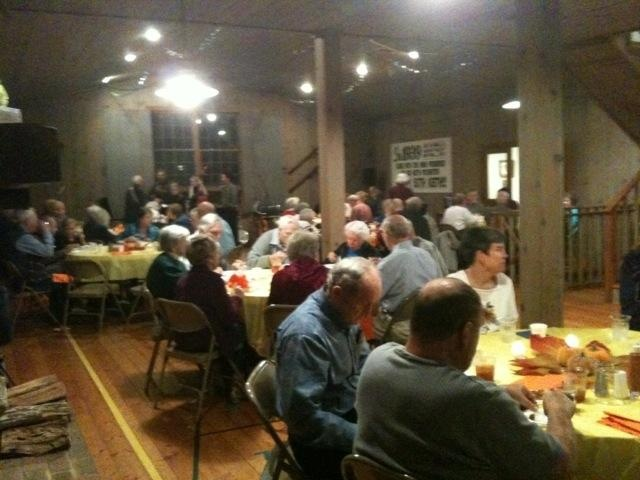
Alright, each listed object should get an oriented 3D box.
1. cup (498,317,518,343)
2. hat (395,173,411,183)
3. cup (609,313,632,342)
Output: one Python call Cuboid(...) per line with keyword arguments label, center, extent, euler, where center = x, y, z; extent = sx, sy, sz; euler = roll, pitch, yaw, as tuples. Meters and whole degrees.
Cuboid(label="cup", center=(1.073, 0.526, 3.026), extent=(0.136, 0.116, 0.122), euler=(-1, -1, 13))
Cuboid(label="hat", center=(1.011, -0.756, 6.477), extent=(0.133, 0.120, 0.151), euler=(-9, 8, -27))
Cuboid(label="cup", center=(1.575, 0.474, 2.844), extent=(0.168, 0.147, 0.140), euler=(0, -8, 22))
